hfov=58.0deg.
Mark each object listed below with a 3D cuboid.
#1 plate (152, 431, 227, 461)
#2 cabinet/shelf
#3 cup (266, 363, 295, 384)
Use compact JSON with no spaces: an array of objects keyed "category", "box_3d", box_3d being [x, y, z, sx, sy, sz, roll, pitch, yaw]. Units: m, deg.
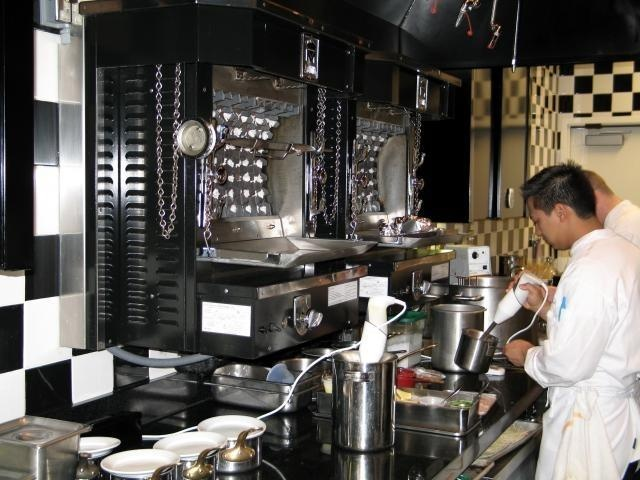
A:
[{"category":"plate","box_3d":[-0.336,0.539,1.505,0.094,0.010,0.092,-4,8,-36]},{"category":"cabinet/shelf","box_3d":[1.346,-0.646,4.335,0.382,1.032,1.133,6,9,35]},{"category":"cup","box_3d":[-0.139,0.440,1.926,0.068,0.055,0.080,0,-8,-2]}]
